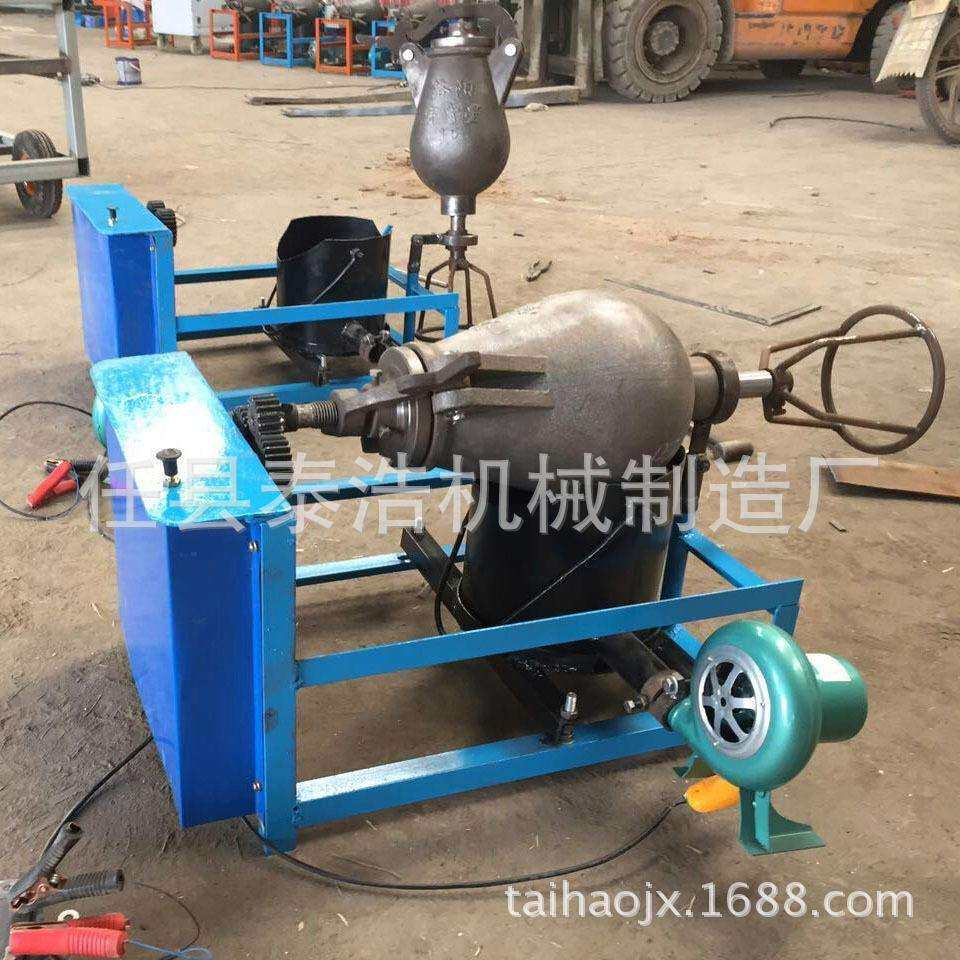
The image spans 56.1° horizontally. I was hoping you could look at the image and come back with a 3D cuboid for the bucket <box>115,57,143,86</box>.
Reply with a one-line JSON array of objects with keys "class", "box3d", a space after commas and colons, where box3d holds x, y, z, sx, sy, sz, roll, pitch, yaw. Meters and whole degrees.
[{"class": "bucket", "box3d": [-3.287, -3.818, 8.418, 0.230, 0.237, 0.394, -11, 30, -18]}]
